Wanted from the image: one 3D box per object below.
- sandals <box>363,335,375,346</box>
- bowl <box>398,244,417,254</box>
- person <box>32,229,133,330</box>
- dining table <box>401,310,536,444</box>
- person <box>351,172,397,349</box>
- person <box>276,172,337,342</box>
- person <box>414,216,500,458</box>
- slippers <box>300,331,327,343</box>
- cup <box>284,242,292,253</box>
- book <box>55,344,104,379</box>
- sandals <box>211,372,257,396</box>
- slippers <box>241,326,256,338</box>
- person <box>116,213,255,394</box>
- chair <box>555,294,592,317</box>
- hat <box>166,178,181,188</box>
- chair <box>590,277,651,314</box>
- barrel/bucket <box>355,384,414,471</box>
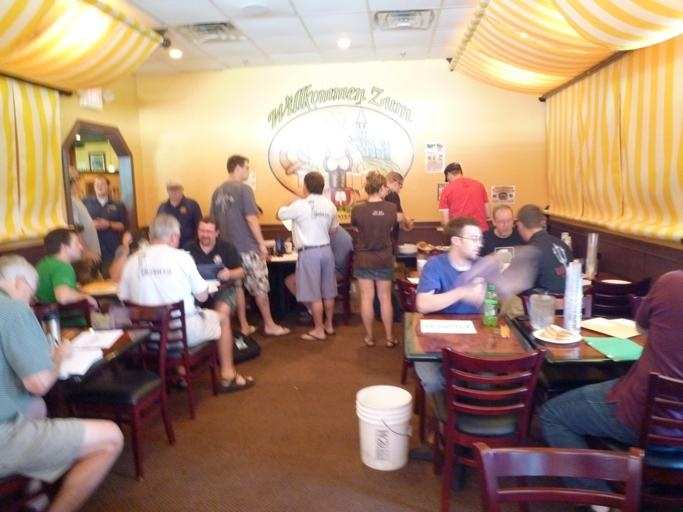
[{"bbox_3d":[0.320,0.990,6.154,0.105,0.064,0.218,0,3,0],"label":"sandals"},{"bbox_3d":[0.871,-0.095,7.096,0.157,0.073,0.154,-1,3,0],"label":"bowl"},{"bbox_3d":[-2.364,0.215,4.785,0.584,1.169,0.639,12,22,35],"label":"person"},{"bbox_3d":[0.861,0.828,3.877,0.998,0.768,0.970,-1,11,3],"label":"dining table"},{"bbox_3d":[0.382,0.035,6.057,0.515,1.981,0.452,-2,11,2],"label":"person"},{"bbox_3d":[-0.395,-0.002,6.369,0.715,1.941,0.602,-4,9,-24],"label":"person"},{"bbox_3d":[0.996,0.477,4.241,0.623,1.553,0.743,-14,13,-16],"label":"person"},{"bbox_3d":[-0.338,0.966,6.373,0.231,0.060,0.124,3,2,19],"label":"slippers"},{"bbox_3d":[-0.722,-0.131,7.281,0.113,0.129,0.118,-1,0,0],"label":"cup"},{"bbox_3d":[-1.658,0.665,3.335,0.186,0.051,0.188,7,20,-11],"label":"book"},{"bbox_3d":[-1.026,1.238,5.133,0.284,0.115,0.151,-3,6,-18],"label":"sandals"},{"bbox_3d":[-1.145,0.915,6.512,0.077,0.173,0.229,5,21,17],"label":"slippers"},{"bbox_3d":[-1.441,0.456,4.848,0.981,1.560,0.951,-3,4,8],"label":"person"},{"bbox_3d":[1.889,0.400,4.293,0.240,0.186,0.246,-2,12,4],"label":"chair"},{"bbox_3d":[-2.335,-0.987,7.336,0.104,0.148,0.119,4,-18,46],"label":"hat"},{"bbox_3d":[2.441,0.357,4.644,0.233,0.389,0.274,0,32,12],"label":"chair"},{"bbox_3d":[0.395,1.301,4.080,0.496,0.531,0.515,-1,11,0],"label":"barrel/bucket"}]
